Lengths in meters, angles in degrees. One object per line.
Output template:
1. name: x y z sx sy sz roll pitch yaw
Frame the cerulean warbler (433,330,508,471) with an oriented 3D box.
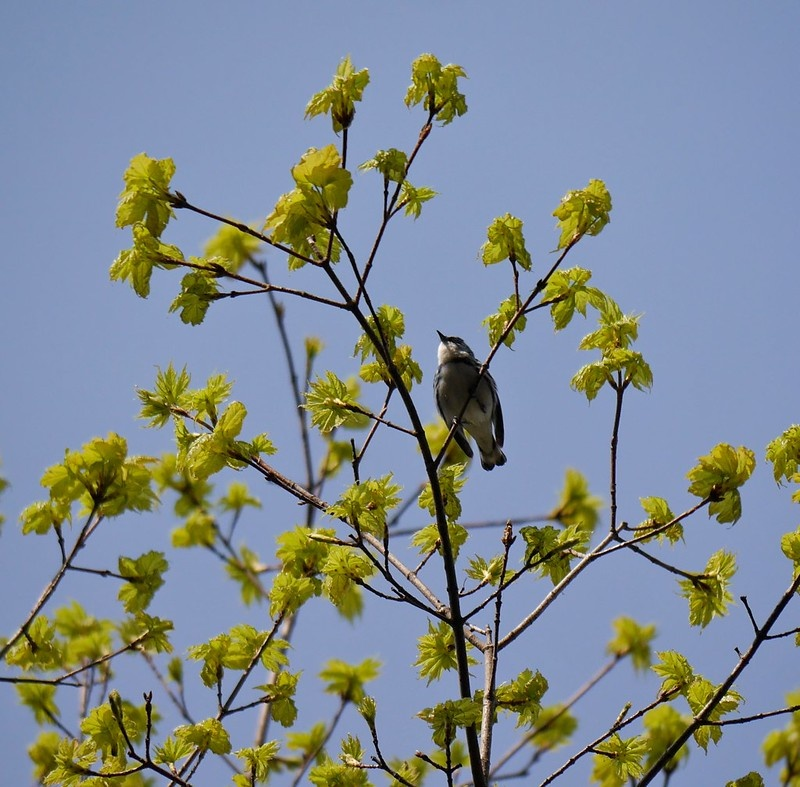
1. cerulean warbler: 0.455 0.078 11.020 0.306 0.367 0.924 -18 -81 26
